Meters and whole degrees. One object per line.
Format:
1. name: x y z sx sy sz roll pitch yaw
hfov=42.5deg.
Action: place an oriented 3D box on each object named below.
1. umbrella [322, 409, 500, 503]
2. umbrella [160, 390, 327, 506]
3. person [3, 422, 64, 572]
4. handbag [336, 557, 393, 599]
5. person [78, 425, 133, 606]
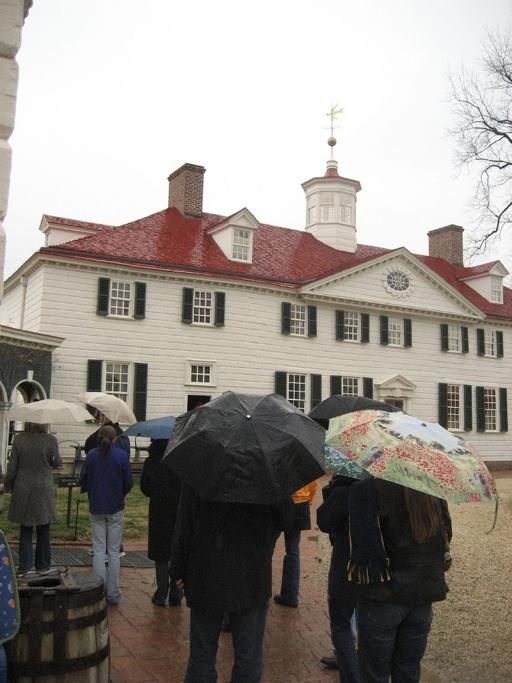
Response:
1. umbrella: 0.796 0.596 3.571 0.683 0.466 0.878 8 -11 -37
2. umbrella: -0.052 0.614 3.839 0.943 0.627 0.576 2 -9 -2
3. person: -2.696 1.839 7.872 0.616 1.689 0.603 4 -10 -15
4. handbag: 0.609 1.224 3.583 0.233 0.121 0.278 -6 11 4
5. person: -1.567 1.753 6.768 0.534 1.748 0.998 4 -9 -13
